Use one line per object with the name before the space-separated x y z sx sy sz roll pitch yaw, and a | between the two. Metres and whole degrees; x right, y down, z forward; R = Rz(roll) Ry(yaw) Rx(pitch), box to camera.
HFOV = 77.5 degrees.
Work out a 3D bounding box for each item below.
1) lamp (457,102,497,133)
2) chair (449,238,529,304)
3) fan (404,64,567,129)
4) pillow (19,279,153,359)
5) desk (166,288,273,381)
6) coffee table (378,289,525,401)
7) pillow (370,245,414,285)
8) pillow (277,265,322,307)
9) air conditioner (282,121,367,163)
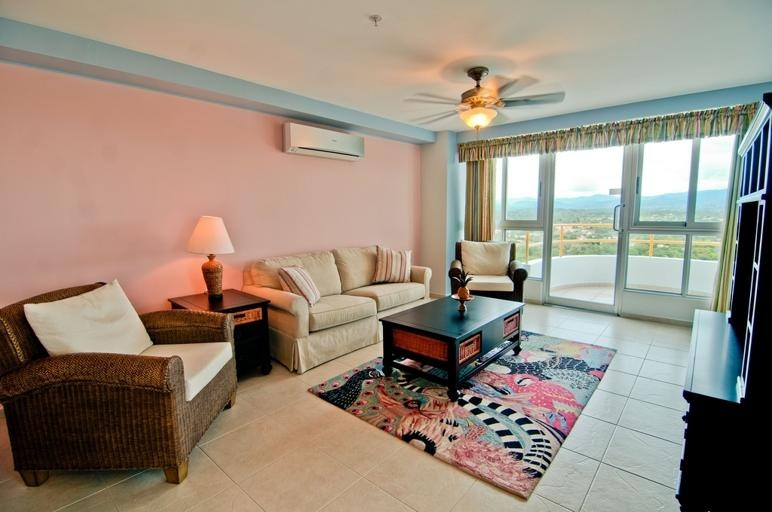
lamp | 0.947 -1.420 4.955 0.331 0.210 0.296 -3 11 8
chair | 1.429 0.189 6.721 1.244 1.058 0.860 1 -4 10
fan | 1.119 -1.713 5.513 1.758 0.577 1.580 0 11 19
pillow | -2.429 0.594 3.915 0.195 0.606 0.653 -36 -3 24
desk | -1.694 0.751 5.031 1.081 0.919 0.741 5 9 38
coffee table | 0.564 0.600 4.794 0.930 0.564 1.476 4 9 41
pillow | 0.057 0.132 6.288 0.571 0.429 0.182 5 -17 -25
pillow | -0.913 0.319 5.300 0.426 0.415 0.447 -12 13 -31
air conditioner | -0.766 -1.393 5.981 1.088 0.456 0.216 -13 15 -42
